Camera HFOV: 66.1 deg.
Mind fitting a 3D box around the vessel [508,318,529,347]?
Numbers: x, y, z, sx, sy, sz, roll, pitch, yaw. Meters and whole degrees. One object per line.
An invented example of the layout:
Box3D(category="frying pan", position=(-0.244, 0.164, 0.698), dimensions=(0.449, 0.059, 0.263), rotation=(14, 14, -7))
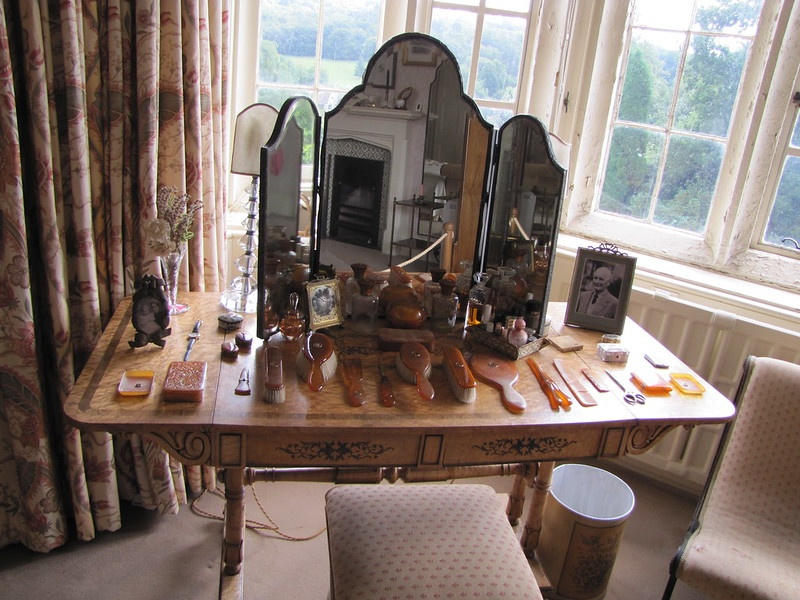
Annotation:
Box3D(category="vessel", position=(0.392, 0.109, 2.045), dimensions=(0.050, 0.125, 0.050), rotation=(-15, 26, -31))

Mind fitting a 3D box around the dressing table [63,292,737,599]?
Box3D(category="dressing table", position=(0.014, 0.829, 2.326), dimensions=(2.221, 1.105, 0.959), rotation=(1, 39, -4))
